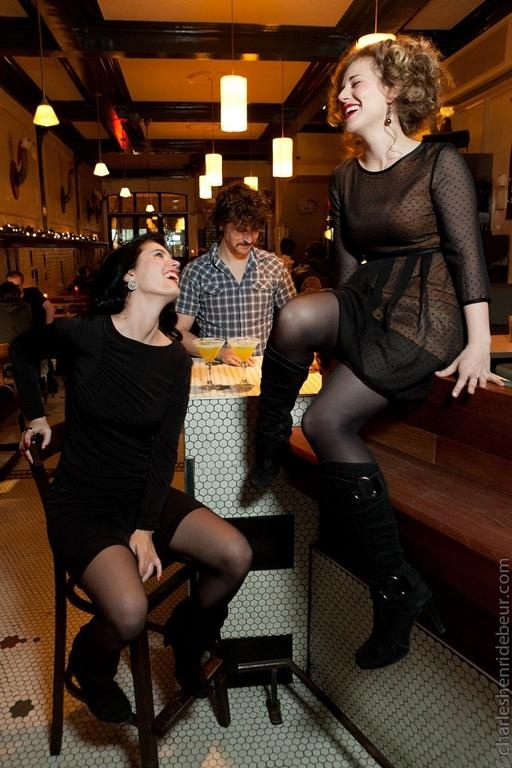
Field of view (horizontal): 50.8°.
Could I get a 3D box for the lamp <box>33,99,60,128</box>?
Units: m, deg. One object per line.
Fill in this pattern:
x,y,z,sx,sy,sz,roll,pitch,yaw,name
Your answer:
-1.756,-2.299,4.521,0.161,0.216,0.327,-4,15,-16,lamp

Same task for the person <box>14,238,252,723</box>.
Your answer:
-0.330,0.338,1.417,0.463,1.419,0.682,-7,16,-26,person

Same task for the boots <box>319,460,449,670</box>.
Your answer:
0.223,0.331,1.038,0.178,0.397,0.124,-15,3,-3,boots

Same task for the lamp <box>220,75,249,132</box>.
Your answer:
-0.167,-2.196,4.153,0.194,0.403,0.361,-1,14,-4,lamp

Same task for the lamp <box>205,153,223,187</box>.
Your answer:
-0.561,-2.929,7.270,0.168,0.376,0.248,2,15,11,lamp

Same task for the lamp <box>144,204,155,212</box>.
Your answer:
-2.770,-4.666,14.152,0.238,0.227,0.370,-3,15,-11,lamp

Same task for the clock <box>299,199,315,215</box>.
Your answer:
1.086,-3.826,11.539,0.304,0.298,0.076,-3,11,3,clock
